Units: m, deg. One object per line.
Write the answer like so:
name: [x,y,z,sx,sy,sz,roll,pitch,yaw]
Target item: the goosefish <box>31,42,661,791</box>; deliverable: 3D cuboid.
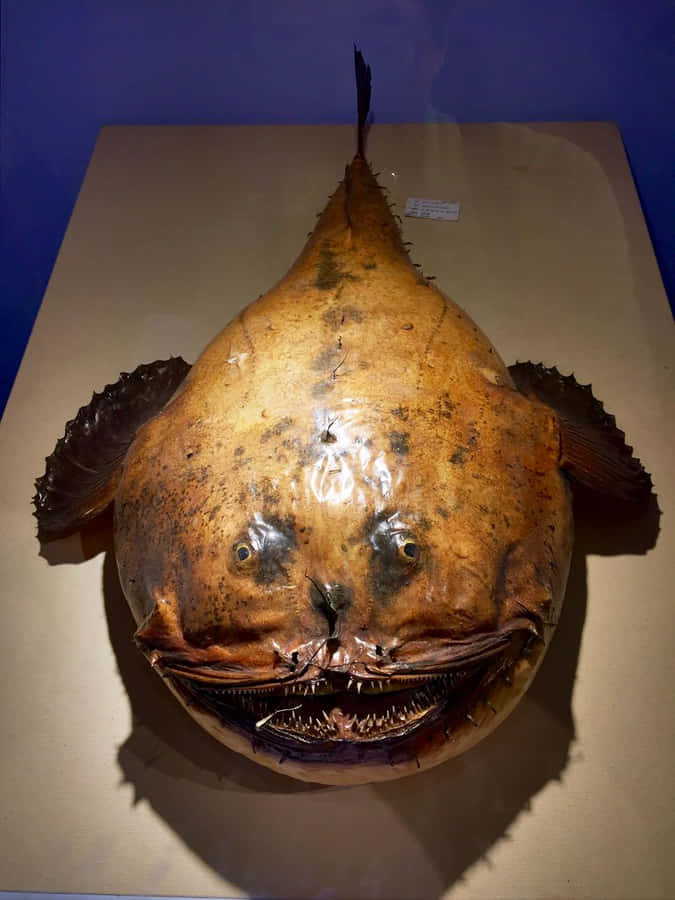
goosefish: [0.048,-0.020,2.448,1.263,0.576,1.437,1,57,2]
